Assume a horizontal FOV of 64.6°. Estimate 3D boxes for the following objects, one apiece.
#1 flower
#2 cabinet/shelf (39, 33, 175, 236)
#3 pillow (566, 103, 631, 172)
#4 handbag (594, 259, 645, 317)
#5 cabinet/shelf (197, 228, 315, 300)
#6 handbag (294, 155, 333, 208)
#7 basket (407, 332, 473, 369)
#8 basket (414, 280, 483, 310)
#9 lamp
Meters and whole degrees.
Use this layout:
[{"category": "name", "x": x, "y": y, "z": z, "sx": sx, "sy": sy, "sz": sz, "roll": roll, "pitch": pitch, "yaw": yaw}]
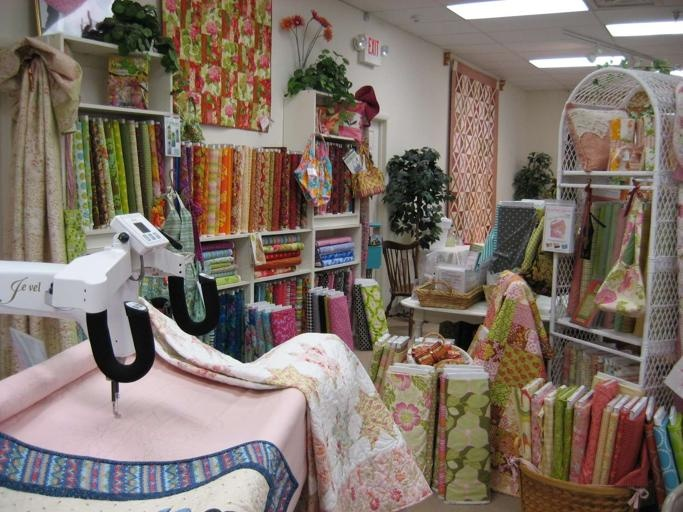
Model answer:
[{"category": "flower", "x": -0.343, "y": -2.137, "z": 5.330, "sx": 0.202, "sy": 0.563, "sz": 0.770, "roll": 6, "pitch": 8, "yaw": 25}, {"category": "cabinet/shelf", "x": -1.546, "y": -0.830, "z": 3.540, "sx": 0.804, "sy": 1.029, "sz": 0.453, "roll": -4, "pitch": 10, "yaw": -44}, {"category": "pillow", "x": 1.621, "y": -0.766, "z": 3.477, "sx": 0.377, "sy": 0.408, "sz": 0.100, "roll": 13, "pitch": 20, "yaw": 42}, {"category": "handbag", "x": 1.630, "y": 0.191, "z": 3.136, "sx": 0.130, "sy": 0.374, "sz": 0.269, "roll": 0, "pitch": 11, "yaw": -36}, {"category": "cabinet/shelf", "x": -0.700, "y": 0.077, "z": 4.741, "sx": 0.205, "sy": 0.622, "sz": 1.375, "roll": 8, "pitch": 9, "yaw": 37}, {"category": "handbag", "x": -0.231, "y": -0.700, "z": 5.033, "sx": 0.143, "sy": 0.547, "sz": 0.589, "roll": 7, "pitch": 12, "yaw": 32}, {"category": "basket", "x": 0.619, "y": 0.616, "z": 3.411, "sx": 0.238, "sy": 0.105, "sz": 0.227, "roll": 3, "pitch": 6, "yaw": -4}, {"category": "basket", "x": 0.805, "y": 0.276, "z": 3.974, "sx": 0.511, "sy": 0.204, "sz": 0.377, "roll": 5, "pitch": 8, "yaw": 10}, {"category": "lamp", "x": 3.604, "y": -2.720, "z": 7.054, "sx": 2.384, "sy": 0.107, "sz": 0.341, "roll": -2, "pitch": 10, "yaw": -37}]
